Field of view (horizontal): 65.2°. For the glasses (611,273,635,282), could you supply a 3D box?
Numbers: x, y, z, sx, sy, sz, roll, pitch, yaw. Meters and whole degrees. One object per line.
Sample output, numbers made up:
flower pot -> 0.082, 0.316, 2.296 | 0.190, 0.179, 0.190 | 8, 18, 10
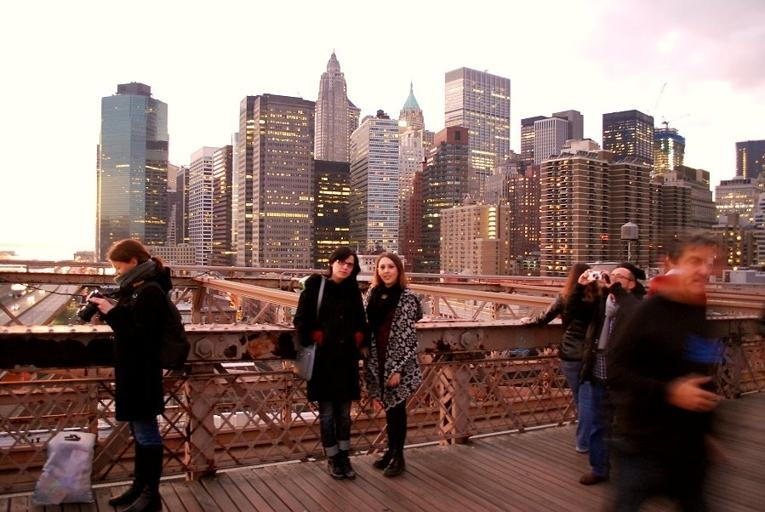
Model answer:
glasses -> 2.494, 0.226, 6.287 | 0.209, 0.059, 0.154 | 6, -5, -14

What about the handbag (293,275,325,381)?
handbag -> -0.725, 0.746, 6.076 | 0.367, 1.032, 0.252 | -3, 6, -24

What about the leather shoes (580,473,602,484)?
leather shoes -> 2.135, 2.289, 6.140 | 0.196, 0.074, 0.098 | 7, 19, -3

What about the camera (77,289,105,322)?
camera -> -2.685, 0.483, 5.524 | 0.195, 0.310, 0.123 | 30, -8, 19

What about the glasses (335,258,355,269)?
glasses -> -0.374, 0.074, 6.124 | 0.130, 0.041, 0.129 | 7, -33, -14

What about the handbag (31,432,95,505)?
handbag -> -2.912, 1.972, 5.497 | 0.554, 0.607, 0.227 | 1, -9, -5

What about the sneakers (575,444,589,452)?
sneakers -> 2.285, 2.201, 6.832 | 0.166, 0.066, 0.058 | 2, 3, -26

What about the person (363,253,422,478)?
person -> 0.103, 1.119, 6.331 | 0.582, 2.315, 0.508 | 0, 6, 3
